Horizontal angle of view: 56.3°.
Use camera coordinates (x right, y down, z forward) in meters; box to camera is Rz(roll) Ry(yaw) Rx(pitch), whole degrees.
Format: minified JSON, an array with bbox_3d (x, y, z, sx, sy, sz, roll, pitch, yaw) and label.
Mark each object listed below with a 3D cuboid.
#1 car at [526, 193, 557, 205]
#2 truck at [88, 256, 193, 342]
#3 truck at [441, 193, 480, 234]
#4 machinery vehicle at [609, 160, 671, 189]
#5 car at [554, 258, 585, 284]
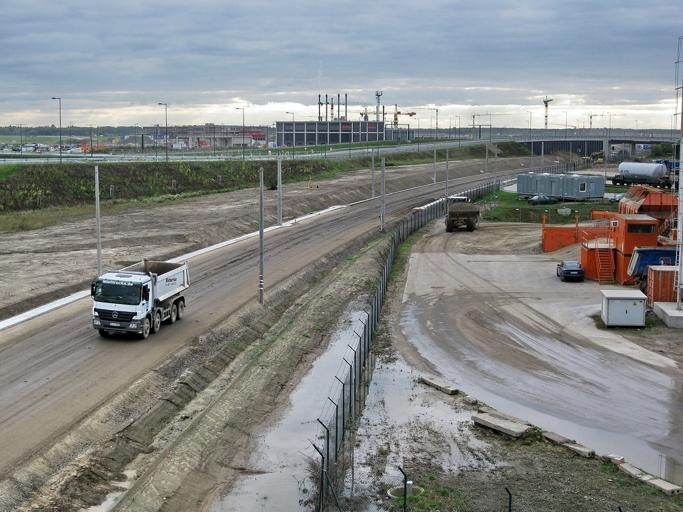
[{"bbox_3d":[27.008,-7.655,85.846,3.420,1.056,4.526,4,13,23],"label":"car"},{"bbox_3d":[-10.722,2.070,33.949,3.229,2.697,6.370,6,9,5],"label":"truck"},{"bbox_3d":[12.986,-4.692,69.955,3.910,3.205,6.891,0,3,13],"label":"truck"},{"bbox_3d":[46.938,-12.517,98.976,4.874,3.693,8.281,-3,12,-11],"label":"machinery vehicle"},{"bbox_3d":[16.649,1.105,46.270,1.582,1.254,1.627,0,13,4],"label":"car"}]
